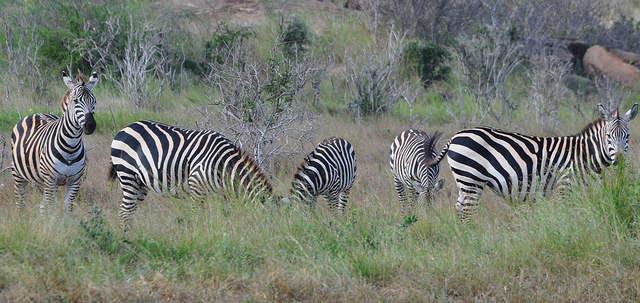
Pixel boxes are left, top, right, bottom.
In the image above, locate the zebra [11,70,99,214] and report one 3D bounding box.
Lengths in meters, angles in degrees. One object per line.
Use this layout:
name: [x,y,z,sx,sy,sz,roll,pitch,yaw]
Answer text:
zebra: [-7.667,-0.276,17.519,2.736,3.991,1.160,3,8,22]
